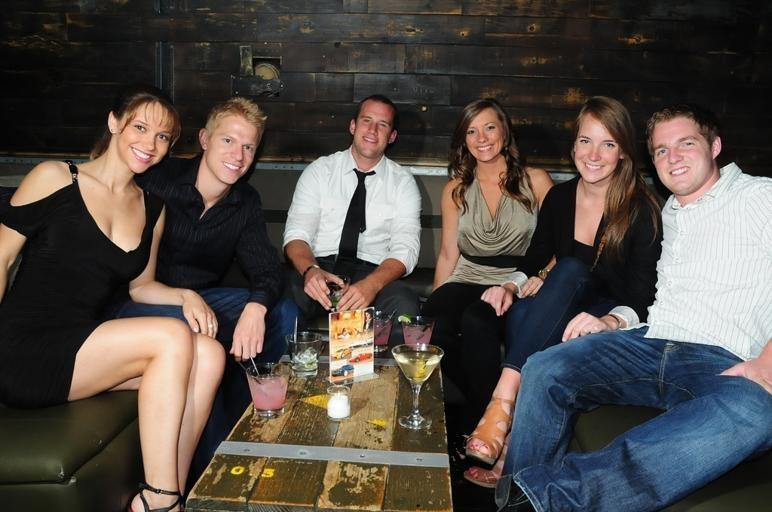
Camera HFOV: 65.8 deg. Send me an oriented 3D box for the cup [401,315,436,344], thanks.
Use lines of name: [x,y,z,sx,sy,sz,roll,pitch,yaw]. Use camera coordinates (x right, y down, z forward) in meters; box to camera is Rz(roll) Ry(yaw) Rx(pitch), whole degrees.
cup: [0.150,0.332,2.648,0.131,0.092,0.134,1,-7,0]

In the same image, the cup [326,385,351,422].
cup: [-0.175,0.560,2.259,0.119,0.118,0.112,0,1,0]

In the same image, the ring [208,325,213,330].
ring: [-0.785,0.326,2.682,0.021,0.017,0.019,0,-5,0]

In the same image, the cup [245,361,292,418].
cup: [-0.473,0.544,2.314,0.188,0.142,0.167,-2,-5,-43]

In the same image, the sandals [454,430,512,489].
sandals: [0.474,1.001,2.810,0.133,0.147,0.383,4,-11,26]

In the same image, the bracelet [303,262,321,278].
bracelet: [-0.410,0.072,3.316,0.079,0.021,0.079,-41,-6,-17]

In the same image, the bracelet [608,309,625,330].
bracelet: [1.060,0.298,2.713,0.056,0.028,0.072,-13,49,-41]

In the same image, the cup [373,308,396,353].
cup: [-0.017,0.367,2.815,0.179,0.171,0.180,2,0,0]

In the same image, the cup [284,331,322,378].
cup: [-0.344,0.444,2.596,0.158,0.153,0.160,0,-6,0]

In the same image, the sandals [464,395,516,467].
sandals: [0.473,0.778,2.655,0.138,0.159,0.402,5,11,26]

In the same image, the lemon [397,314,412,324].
lemon: [0.084,0.285,2.672,0.045,0.014,0.045,12,10,39]
